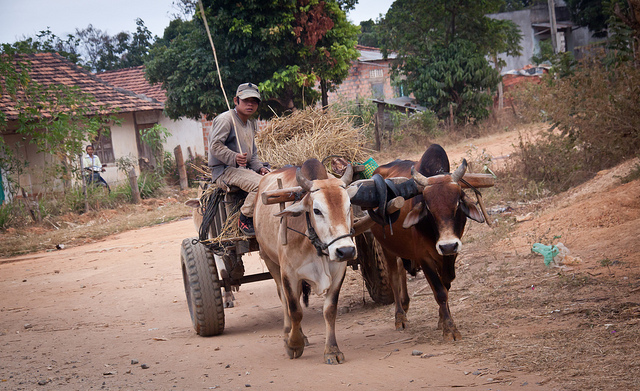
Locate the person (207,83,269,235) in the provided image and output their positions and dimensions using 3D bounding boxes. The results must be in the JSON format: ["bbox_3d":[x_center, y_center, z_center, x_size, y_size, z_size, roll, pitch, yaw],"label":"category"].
[{"bbox_3d":[-1.370,-0.682,11.052,1.071,2.692,1.315,-9,5,-22],"label":"person"}]

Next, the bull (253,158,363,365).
[{"bbox_3d":[-0.251,1.174,11.093,1.607,3.287,5.456,-4,2,-12],"label":"bull"}]

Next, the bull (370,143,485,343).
[{"bbox_3d":[1.773,0.913,11.461,1.488,3.252,4.930,-7,-1,-7],"label":"bull"}]

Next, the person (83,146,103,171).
[{"bbox_3d":[-8.294,-1.330,21.940,0.877,1.142,0.693,-3,6,-26],"label":"person"}]

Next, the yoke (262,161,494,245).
[{"bbox_3d":[1.062,0.214,10.325,3.660,1.367,3.172,-5,4,6],"label":"yoke"}]
